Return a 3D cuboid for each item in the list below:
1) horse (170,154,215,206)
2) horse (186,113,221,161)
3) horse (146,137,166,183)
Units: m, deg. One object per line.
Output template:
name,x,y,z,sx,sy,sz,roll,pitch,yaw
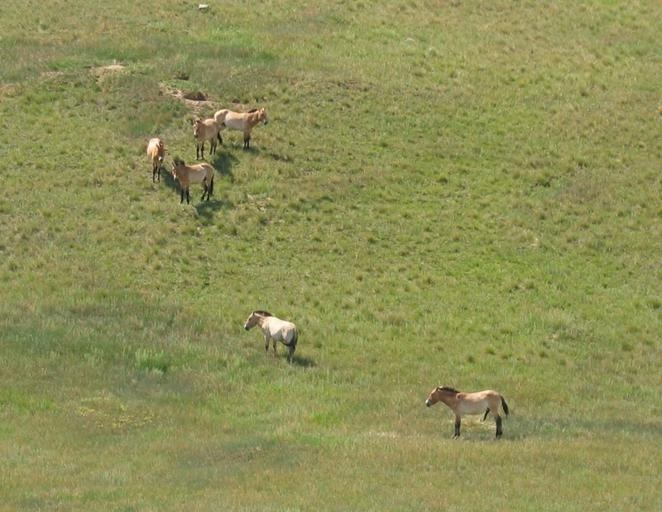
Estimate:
horse,-6.907,-3.848,70.527,2.617,2.213,0.744,-7,10,-38
horse,-6.506,-6.320,72.836,0.736,2.115,2.803,9,17,20
horse,-8.816,-4.781,71.672,0.531,1.632,2.419,5,-6,-10
